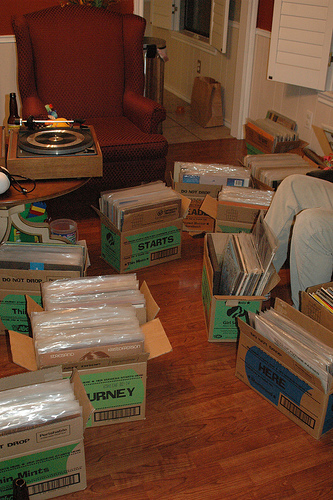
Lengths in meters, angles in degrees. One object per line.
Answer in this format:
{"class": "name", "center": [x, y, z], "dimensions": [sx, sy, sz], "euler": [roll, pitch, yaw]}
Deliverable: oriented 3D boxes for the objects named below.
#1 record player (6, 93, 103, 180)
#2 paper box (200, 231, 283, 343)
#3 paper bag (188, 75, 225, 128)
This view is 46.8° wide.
{"class": "record player", "center": [-0.546, -0.486, 1.950], "dimensions": [0.456, 0.349, 0.465], "euler": [-3, 43, -12]}
{"class": "paper box", "center": [0.316, 0.158, 1.649], "dimensions": [0.251, 0.344, 0.367], "euler": [3, 38, -1]}
{"class": "paper bag", "center": [0.490, -1.762, 4.588], "dimensions": [0.211, 0.537, 0.558], "euler": [-12, 30, -20]}
